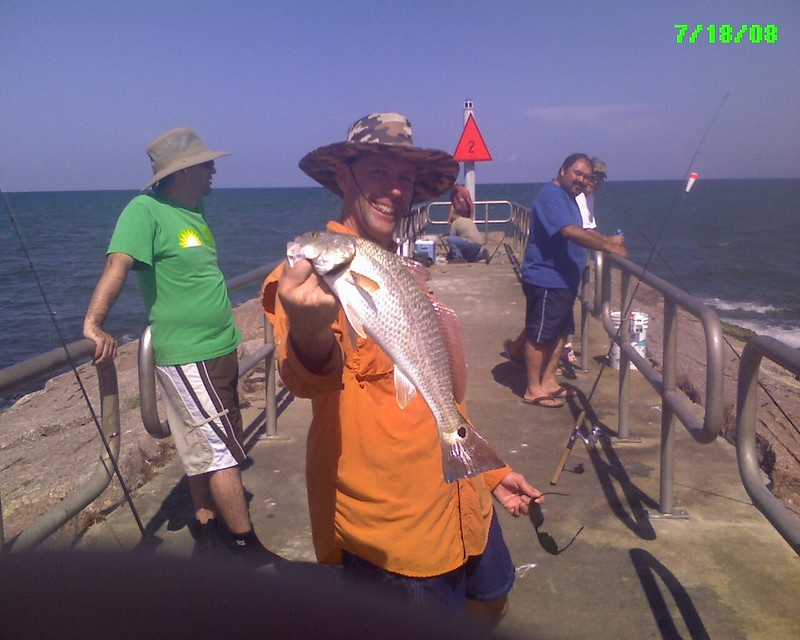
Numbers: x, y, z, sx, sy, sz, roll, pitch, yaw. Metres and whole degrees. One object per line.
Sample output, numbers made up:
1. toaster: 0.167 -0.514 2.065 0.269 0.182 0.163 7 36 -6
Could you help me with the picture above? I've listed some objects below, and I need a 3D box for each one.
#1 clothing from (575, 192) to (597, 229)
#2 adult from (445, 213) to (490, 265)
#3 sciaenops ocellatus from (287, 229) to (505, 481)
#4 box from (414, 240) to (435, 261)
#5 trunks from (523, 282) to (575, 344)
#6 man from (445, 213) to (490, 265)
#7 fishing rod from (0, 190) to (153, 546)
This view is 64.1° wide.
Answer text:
1. clothing: 1.857 -1.087 6.424 0.376 0.386 0.114 1 -1 -26
2. adult: 1.383 -1.798 13.567 0.801 1.076 1.026 11 23 44
3. sciaenops ocellatus: -0.008 0.095 1.722 0.558 0.666 0.193 -3 12 -12
4. box: 0.489 -1.239 12.676 0.354 0.473 0.679 -2 13 7
5. trunks: 1.295 -0.124 5.738 0.411 0.725 0.754 -2 5 -5
6. man: 1.398 -1.789 13.577 0.809 1.049 1.042 9 21 44
7. fishing rod: -1.725 0.332 3.399 0.374 2.377 0.121 -13 4 21
